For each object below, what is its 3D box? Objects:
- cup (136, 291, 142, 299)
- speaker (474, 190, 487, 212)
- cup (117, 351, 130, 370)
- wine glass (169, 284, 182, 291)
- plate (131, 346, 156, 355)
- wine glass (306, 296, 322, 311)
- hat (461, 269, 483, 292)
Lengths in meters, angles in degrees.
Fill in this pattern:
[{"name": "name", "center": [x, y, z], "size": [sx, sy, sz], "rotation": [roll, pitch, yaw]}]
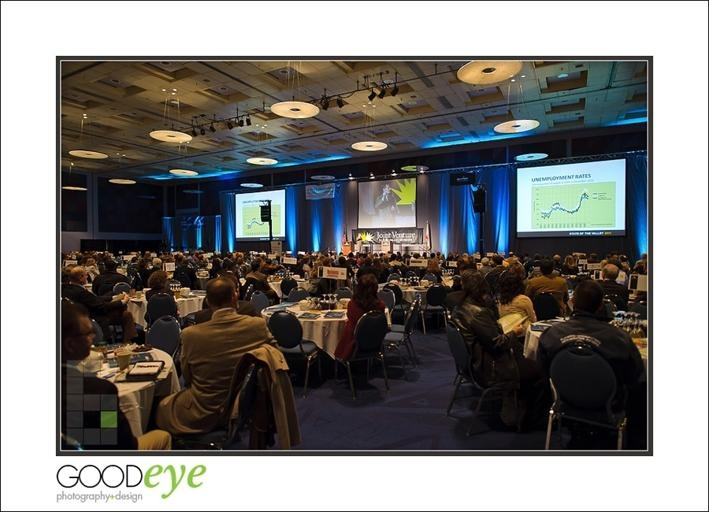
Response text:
[{"name": "cup", "center": [-3.375, 0.630, 7.819], "size": [0.097, 0.114, 0.173], "rotation": [-1, 2, -13]}, {"name": "speaker", "center": [4.091, -1.800, 16.155], "size": [0.310, 0.768, 0.401], "rotation": [2, 12, 8]}, {"name": "cup", "center": [-2.028, 0.927, 4.377], "size": [0.110, 0.147, 0.094], "rotation": [-5, 13, -24]}, {"name": "wine glass", "center": [-3.002, 0.535, 8.357], "size": [0.141, 0.072, 0.124], "rotation": [-3, -7, 42]}, {"name": "plate", "center": [-2.045, 0.924, 4.815], "size": [0.179, 0.041, 0.211], "rotation": [-2, 11, -15]}, {"name": "wine glass", "center": [-0.568, 0.678, 6.970], "size": [0.175, 0.160, 0.170], "rotation": [-1, -1, -17]}, {"name": "hat", "center": [1.305, 0.273, 5.427], "size": [0.234, 0.213, 0.201], "rotation": [-2, 5, -27]}]
